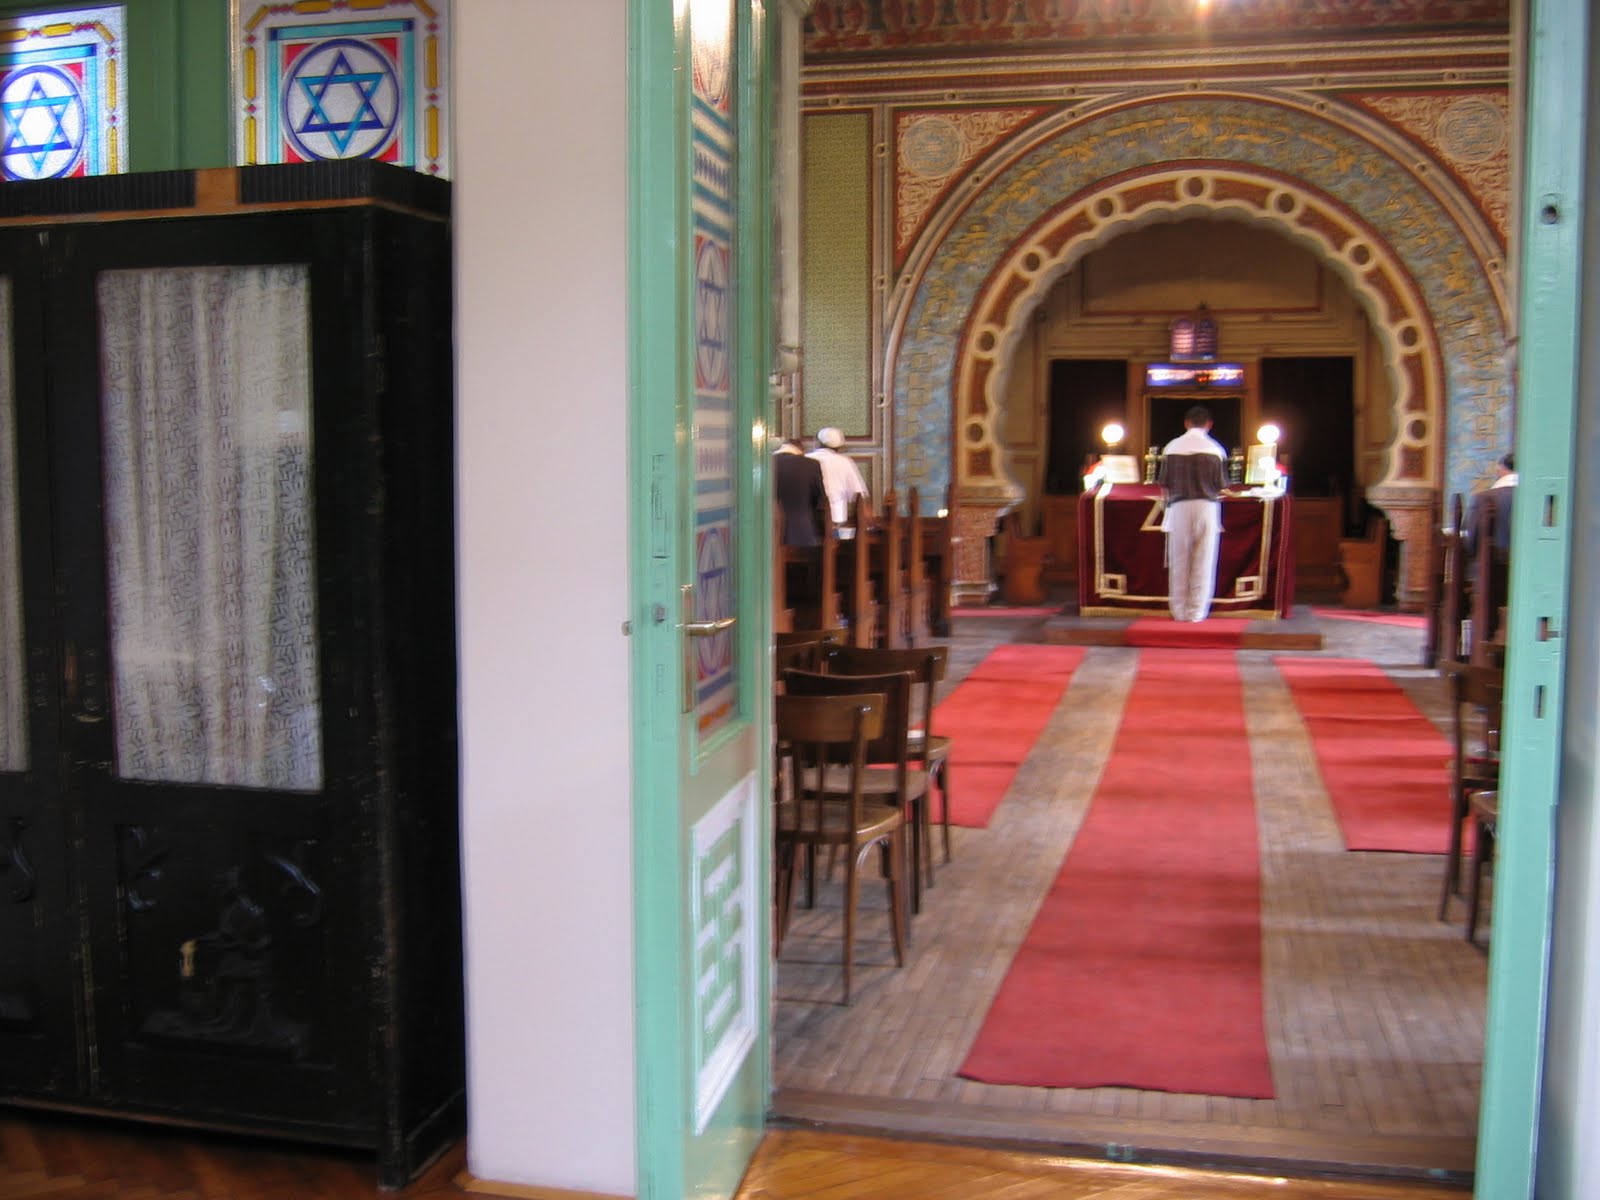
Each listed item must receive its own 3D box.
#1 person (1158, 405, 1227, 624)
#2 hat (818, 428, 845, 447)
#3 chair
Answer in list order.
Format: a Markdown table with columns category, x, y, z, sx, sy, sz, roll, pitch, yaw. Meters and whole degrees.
| category | x | y | z | sx | sy | sz | roll | pitch | yaw |
| --- | --- | --- | --- | --- | --- | --- | --- | --- | --- |
| person | 3.244 | -0.616 | 11.537 | 0.475 | 1.608 | 0.258 | 0 | 7 | 10 |
| hat | 0.238 | -1.320 | 11.558 | 0.168 | 0.183 | 0.234 | 4 | 19 | 21 |
| chair | 0.198 | 0.708 | 4.974 | 0.588 | 1.021 | 1.496 | -1 | 7 | 3 |
